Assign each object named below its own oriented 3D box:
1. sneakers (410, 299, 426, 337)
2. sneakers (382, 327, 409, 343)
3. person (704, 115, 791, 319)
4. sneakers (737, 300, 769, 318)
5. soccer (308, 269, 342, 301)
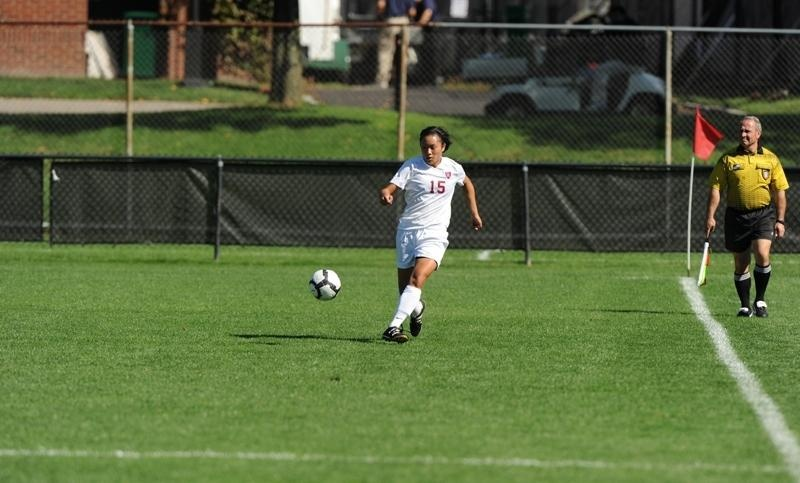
[{"bbox_3d":[0.209,1.085,18.477,0.172,0.531,0.210,13,20,24],"label":"sneakers"},{"bbox_3d":[-0.043,1.312,18.090,0.385,0.190,0.173,0,2,28],"label":"sneakers"},{"bbox_3d":[5.220,-0.224,19.579,1.100,2.669,0.551,2,8,13],"label":"person"},{"bbox_3d":[5.319,1.058,19.560,0.546,0.235,0.200,-10,41,-7],"label":"sneakers"},{"bbox_3d":[-1.109,0.644,19.173,0.452,0.456,0.445,-5,-10,-21],"label":"soccer"}]
